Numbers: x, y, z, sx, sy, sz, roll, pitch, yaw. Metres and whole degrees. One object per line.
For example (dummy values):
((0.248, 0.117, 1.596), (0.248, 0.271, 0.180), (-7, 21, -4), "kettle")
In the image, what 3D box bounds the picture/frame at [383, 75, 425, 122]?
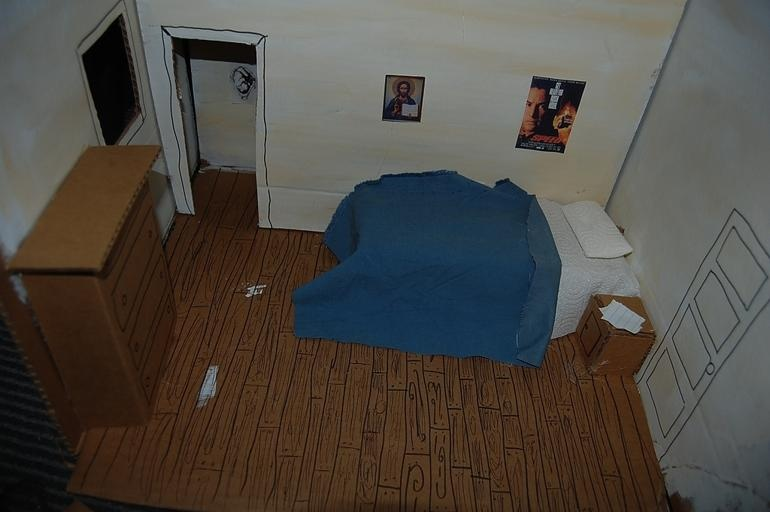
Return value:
((0.167, -1.424, 4.712), (0.338, 0.402, 0.019), (3, 36, 0), "picture/frame")

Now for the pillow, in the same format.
((2.054, -0.265, 4.772), (0.378, 0.151, 0.673), (-14, 38, 40), "pillow")

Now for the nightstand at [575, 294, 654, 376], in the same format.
((1.864, 0.679, 4.519), (0.566, 0.596, 0.602), (4, 35, -7), "nightstand")
